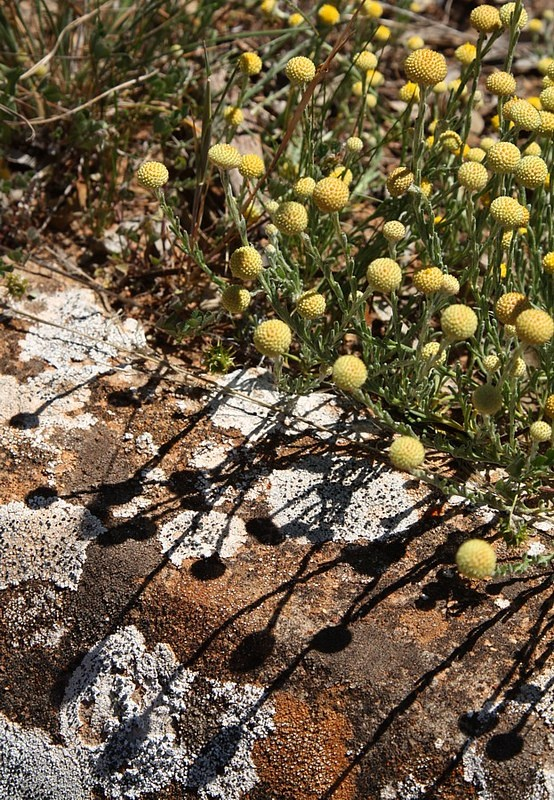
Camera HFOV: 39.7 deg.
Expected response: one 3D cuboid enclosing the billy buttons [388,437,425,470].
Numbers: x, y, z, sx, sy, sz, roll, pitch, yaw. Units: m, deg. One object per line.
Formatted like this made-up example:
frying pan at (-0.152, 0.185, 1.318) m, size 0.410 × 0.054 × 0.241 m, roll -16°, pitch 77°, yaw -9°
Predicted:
billy buttons at (0.335, 0.147, 2.019) m, size 0.092 × 0.091 × 0.096 m, roll 1°, pitch 15°, yaw 8°
